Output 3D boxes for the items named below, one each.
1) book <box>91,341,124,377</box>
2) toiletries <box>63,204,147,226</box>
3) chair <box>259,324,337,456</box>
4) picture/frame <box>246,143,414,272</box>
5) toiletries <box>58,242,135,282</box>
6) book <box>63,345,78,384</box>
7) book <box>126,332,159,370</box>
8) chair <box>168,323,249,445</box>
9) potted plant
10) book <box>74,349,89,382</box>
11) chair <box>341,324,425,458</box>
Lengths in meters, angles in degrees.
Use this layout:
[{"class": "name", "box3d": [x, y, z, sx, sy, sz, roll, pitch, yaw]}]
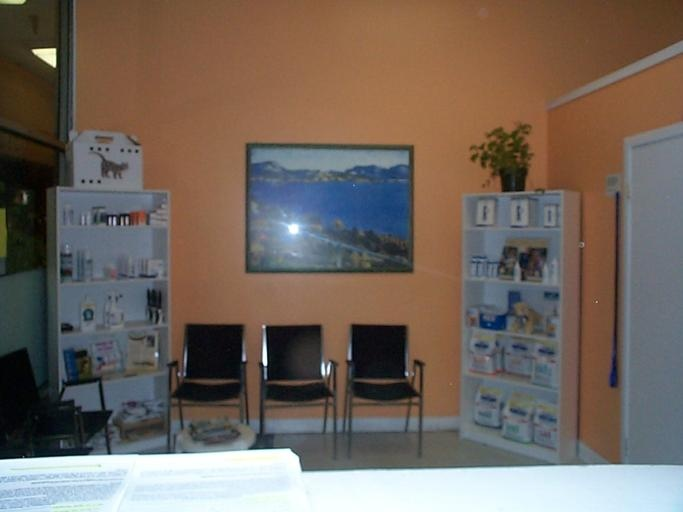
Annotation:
[{"class": "book", "box3d": [-2.098, 0.925, 5.145, 0.240, 0.291, 0.088, -8, 3, -35]}, {"class": "toiletries", "box3d": [-2.100, -0.349, 5.152, 0.699, 0.148, 0.381, 2, -1, -29]}, {"class": "chair", "box3d": [-0.403, 1.176, 5.317, 0.747, 1.049, 0.628, 1, -1, -1]}, {"class": "picture/frame", "box3d": [-0.111, -0.450, 5.574, 1.602, 1.227, 0.063, 1, -1, -3]}, {"class": "toiletries", "box3d": [-2.188, 0.097, 5.099, 0.394, 0.271, 0.389, 1, 1, -24]}, {"class": "book", "box3d": [-2.299, 0.923, 4.910, 0.051, 0.241, 0.158, -3, 1, 22]}, {"class": "book", "box3d": [-1.844, 0.861, 5.371, 0.303, 0.463, 0.311, 3, -6, -32]}, {"class": "chair", "box3d": [-1.175, 1.155, 5.202, 0.660, 1.059, 0.753, 1, -1, -1]}, {"class": "potted plant", "box3d": [1.505, -0.916, 5.594, 0.634, 0.711, 0.675, 2, 14, 20]}, {"class": "book", "box3d": [-2.244, 0.944, 5.005, 0.061, 0.222, 0.152, -4, -4, 40]}, {"class": "chair", "box3d": [0.367, 1.243, 5.222, 0.891, 1.119, 0.941, -3, -8, 41]}]
